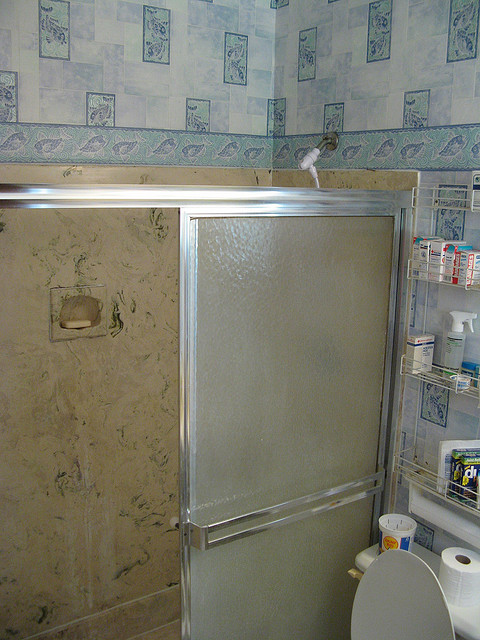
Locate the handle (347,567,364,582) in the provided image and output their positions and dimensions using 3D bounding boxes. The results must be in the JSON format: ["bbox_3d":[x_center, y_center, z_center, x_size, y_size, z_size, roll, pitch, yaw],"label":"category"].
[{"bbox_3d":[0.337,0.733,1.483,0.040,0.019,0.071,1,-1,-5],"label":"handle"}]

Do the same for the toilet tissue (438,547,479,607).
[{"bbox_3d":[0.530,0.612,1.263,0.104,0.123,0.086,-10,18,-38],"label":"toilet tissue"}]

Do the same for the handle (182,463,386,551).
[{"bbox_3d":[0.189,0.506,1.407,0.704,0.128,0.025,-6,7,-39],"label":"handle"}]

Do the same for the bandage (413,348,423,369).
[{"bbox_3d":[0.492,0.105,1.409,0.030,0.059,0.010,-3,5,-17],"label":"bandage"}]

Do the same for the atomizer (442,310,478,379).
[{"bbox_3d":[0.576,0.063,1.331,0.081,0.172,0.105,3,6,42],"label":"atomizer"}]
